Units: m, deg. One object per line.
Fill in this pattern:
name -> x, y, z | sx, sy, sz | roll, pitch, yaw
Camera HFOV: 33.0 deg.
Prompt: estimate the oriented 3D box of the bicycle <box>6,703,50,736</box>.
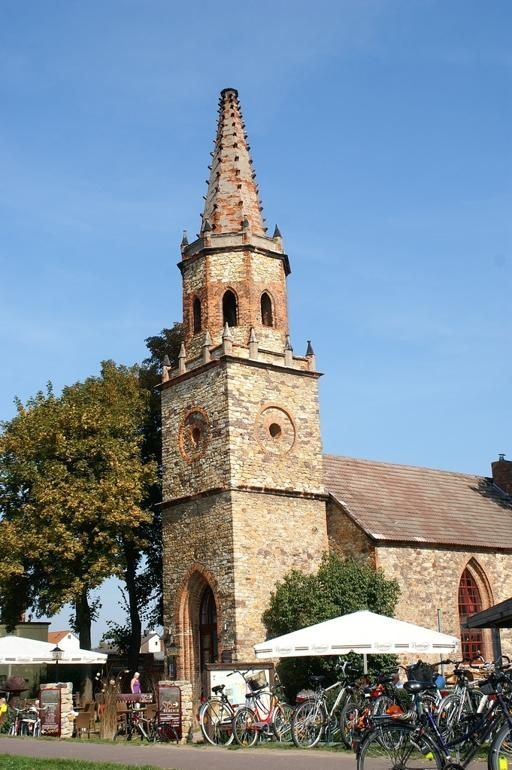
bicycle -> -5.213, 7.719, 19.940 | 0.788, 0.752, 1.198 | 23, -38, -31
